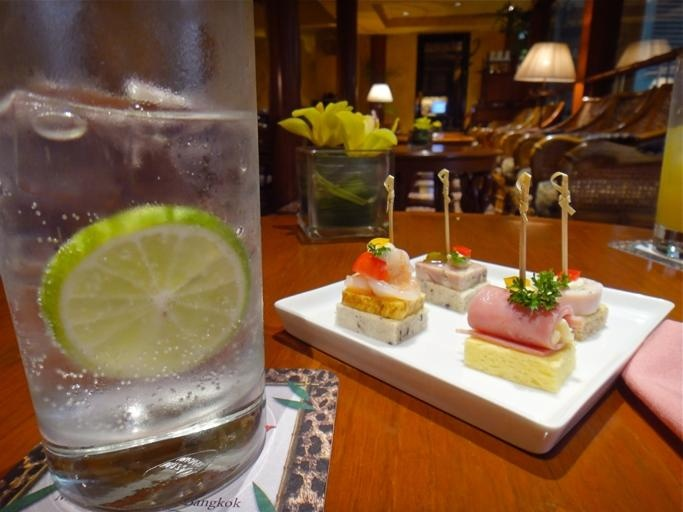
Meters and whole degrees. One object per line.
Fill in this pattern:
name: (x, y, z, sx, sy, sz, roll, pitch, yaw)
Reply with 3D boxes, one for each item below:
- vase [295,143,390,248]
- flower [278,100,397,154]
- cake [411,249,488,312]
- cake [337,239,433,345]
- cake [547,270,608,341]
vase: (-0.007, -0.205, 1.653, 0.282, 0.294, 0.290, -1, 13, -5)
flower: (-0.019, -0.428, 1.663, 0.346, 0.156, 0.326, -3, 22, -5)
cake: (0.275, 0.036, 1.330, 0.146, 0.100, 0.154, 15, 23, 43)
cake: (0.099, 0.051, 1.123, 0.187, 0.206, 0.189, -12, 17, -37)
cake: (0.516, 0.092, 1.104, 0.101, 0.054, 0.146, -10, 21, 14)
